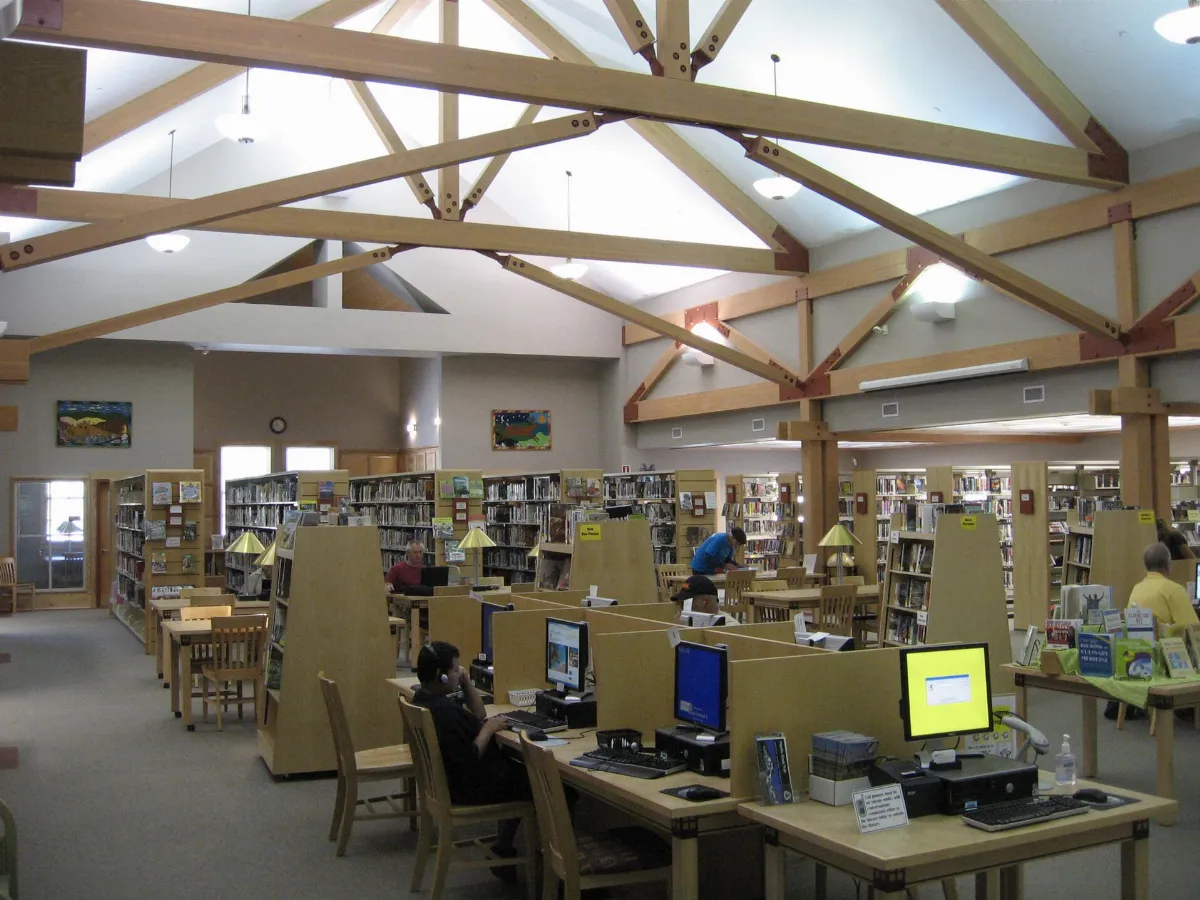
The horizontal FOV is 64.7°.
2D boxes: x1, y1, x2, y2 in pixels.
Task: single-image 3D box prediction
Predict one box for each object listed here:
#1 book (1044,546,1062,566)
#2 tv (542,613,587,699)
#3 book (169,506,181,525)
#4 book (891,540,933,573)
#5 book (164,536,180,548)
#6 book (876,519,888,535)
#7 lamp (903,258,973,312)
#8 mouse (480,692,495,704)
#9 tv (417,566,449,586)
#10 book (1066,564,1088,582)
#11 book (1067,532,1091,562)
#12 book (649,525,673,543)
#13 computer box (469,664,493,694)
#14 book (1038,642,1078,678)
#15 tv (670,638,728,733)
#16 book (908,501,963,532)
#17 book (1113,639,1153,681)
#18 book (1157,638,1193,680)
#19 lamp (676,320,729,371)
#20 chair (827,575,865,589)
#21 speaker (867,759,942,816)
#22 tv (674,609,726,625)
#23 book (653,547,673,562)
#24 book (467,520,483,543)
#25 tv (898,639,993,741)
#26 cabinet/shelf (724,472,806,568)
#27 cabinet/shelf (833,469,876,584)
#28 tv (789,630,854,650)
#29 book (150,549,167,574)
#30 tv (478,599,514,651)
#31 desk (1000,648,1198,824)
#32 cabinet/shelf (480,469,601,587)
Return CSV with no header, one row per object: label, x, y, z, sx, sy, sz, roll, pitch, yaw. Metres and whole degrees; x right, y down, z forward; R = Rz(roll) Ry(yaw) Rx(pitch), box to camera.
book,6.165,1.455,12.956,0.177,0.070,0.234,6,16,18
tv,-0.208,1.222,5.587,0.111,0.437,0.476,5,-4,-35
book,-5.565,0.864,12.459,0.206,0.293,0.126,1,-3,-14
book,3.253,1.113,9.959,0.301,0.521,0.557,2,2,25
book,-5.601,1.197,12.473,0.185,0.186,0.078,2,-4,-25
book,4.398,1.225,14.912,0.220,0.218,0.059,-7,-30,27
lamp,4.162,-2.085,11.990,0.392,0.621,1.018,2,-4,-21
mouse,-0.710,1.579,6.016,0.065,0.056,0.061,2,-3,7
tv,-1.811,1.372,10.416,0.277,0.256,0.195,1,5,-12
book,5.101,1.326,10.211,0.254,0.236,0.136,2,-2,-23
book,5.099,1.042,10.151,0.232,0.307,0.325,3,-11,2
book,0.913,1.245,14.171,0.206,0.347,0.379,2,-4,3
computer box,-0.767,1.484,6.182,0.148,0.161,0.256,2,-5,-22
book,3.044,1.408,6.335,0.224,0.155,0.170,2,0,5
tv,0.491,1.186,4.734,0.066,0.468,0.496,-1,0,-30
book,3.092,0.630,8.856,0.173,0.231,0.336,0,1,-15
book,3.377,1.356,6.133,0.241,0.229,0.234,3,-5,-30
book,3.704,1.365,6.163,0.240,0.271,0.038,0,-12,-26
lamp,1.688,-1.817,16.077,0.357,0.787,1.057,2,-4,-29
chair,2.848,1.547,10.986,0.274,0.137,1.567,-1,-4,18
speaker,1.281,1.413,4.034,0.219,0.142,0.205,1,-5,-23
tv,0.621,1.010,5.718,0.283,0.067,0.255,0,-4,1
book,0.921,1.548,13.979,0.214,0.286,0.297,1,2,-12
book,-1.496,1.007,11.431,0.208,0.196,0.211,-3,-3,38
tv,1.584,1.122,4.396,0.561,0.455,0.058,0,-3,-23
cabinet/shelf,2.637,1.176,15.207,0.542,1.520,1.590,2,-4,-20
cabinet/shelf,3.735,1.063,13.893,0.598,1.466,4.262,-1,-4,15
tv,1.187,1.024,5.090,0.276,0.082,0.361,0,-4,7
book,-5.773,1.455,12.407,0.262,0.377,0.280,3,-4,-32
tv,-0.676,1.143,6.164,0.215,0.389,0.394,0,0,-15
desk,3.476,1.692,6.417,1.089,0.817,1.347,1,-2,-17
cabinet/shelf,-0.776,0.985,12.055,0.539,1.630,1.769,3,-5,-31
